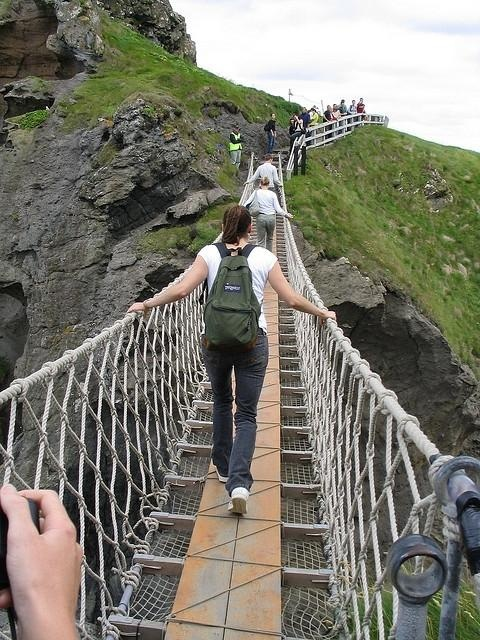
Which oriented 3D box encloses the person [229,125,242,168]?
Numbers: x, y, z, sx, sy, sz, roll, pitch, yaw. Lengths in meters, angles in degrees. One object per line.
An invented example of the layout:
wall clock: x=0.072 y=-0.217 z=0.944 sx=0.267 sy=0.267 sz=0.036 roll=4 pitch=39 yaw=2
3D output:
person: x=-0.113 y=-4.777 z=14.203 sx=0.327 sy=1.110 sz=0.895 roll=3 pitch=20 yaw=-4

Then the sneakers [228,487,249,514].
sneakers: x=0.004 y=0.797 z=2.261 sx=0.068 sy=0.153 sz=0.071 roll=2 pitch=44 yaw=0

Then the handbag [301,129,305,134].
handbag: x=2.109 y=-6.284 z=16.932 sx=0.152 sy=0.181 sz=0.370 roll=7 pitch=20 yaw=5

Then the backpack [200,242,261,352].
backpack: x=-0.020 y=-0.097 z=2.224 sx=0.237 sy=0.394 sz=0.407 roll=5 pitch=20 yaw=1

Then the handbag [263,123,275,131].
handbag: x=0.988 y=-6.420 z=17.082 sx=0.446 sy=0.228 sz=0.292 roll=-6 pitch=10 yaw=-15

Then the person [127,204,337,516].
person: x=-0.132 y=0.162 z=2.391 sx=0.691 sy=1.328 sz=0.595 roll=13 pitch=21 yaw=22
